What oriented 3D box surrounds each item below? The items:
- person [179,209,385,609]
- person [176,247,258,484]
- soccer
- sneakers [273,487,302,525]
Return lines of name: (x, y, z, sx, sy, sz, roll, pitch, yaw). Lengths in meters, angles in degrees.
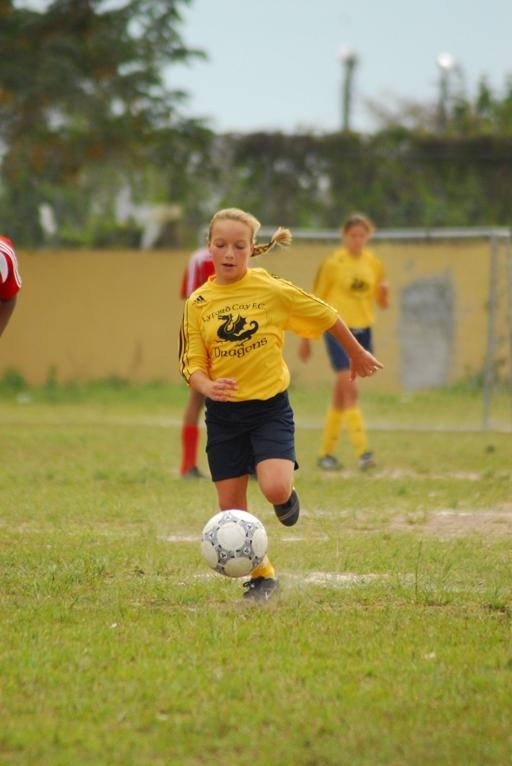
person: (0.063, 0.077, 3.776, 0.663, 1.432, 0.524, -4, 12, -19)
person: (-0.234, -0.113, 6.189, 0.557, 1.779, 0.343, 0, -39, 10)
soccer: (-0.072, 0.567, 3.526, 0.185, 0.222, 0.197, 6, 12, 26)
sneakers: (0.128, 0.474, 3.847, 0.066, 0.072, 0.171, -37, 9, 16)
